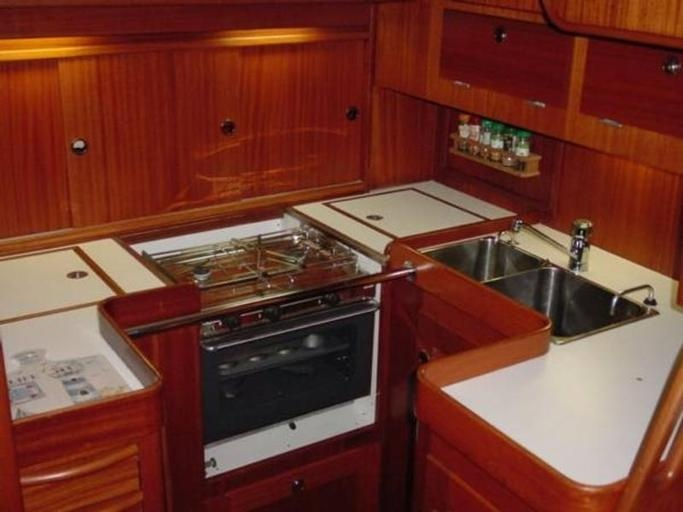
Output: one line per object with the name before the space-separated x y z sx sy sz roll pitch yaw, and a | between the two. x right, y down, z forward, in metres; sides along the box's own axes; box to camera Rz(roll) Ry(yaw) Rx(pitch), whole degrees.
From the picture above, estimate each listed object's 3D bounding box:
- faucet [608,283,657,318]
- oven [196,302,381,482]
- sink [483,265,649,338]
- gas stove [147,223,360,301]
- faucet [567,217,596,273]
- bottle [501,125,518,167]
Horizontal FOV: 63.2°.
faucet | 0.998 0.158 1.916 0.164 0.074 0.053 -18 29 -12
oven | -0.292 0.476 2.329 0.772 0.564 0.537 -9 16 -29
sink | 0.831 0.216 2.041 0.298 0.246 0.386 -19 35 -23
gas stove | -0.335 0.029 2.219 0.586 0.154 0.376 -14 38 -26
faucet | 0.913 -0.037 2.136 0.071 0.180 0.137 6 22 22
bottle | 0.741 -0.487 2.476 0.069 0.176 0.070 4 12 -1
